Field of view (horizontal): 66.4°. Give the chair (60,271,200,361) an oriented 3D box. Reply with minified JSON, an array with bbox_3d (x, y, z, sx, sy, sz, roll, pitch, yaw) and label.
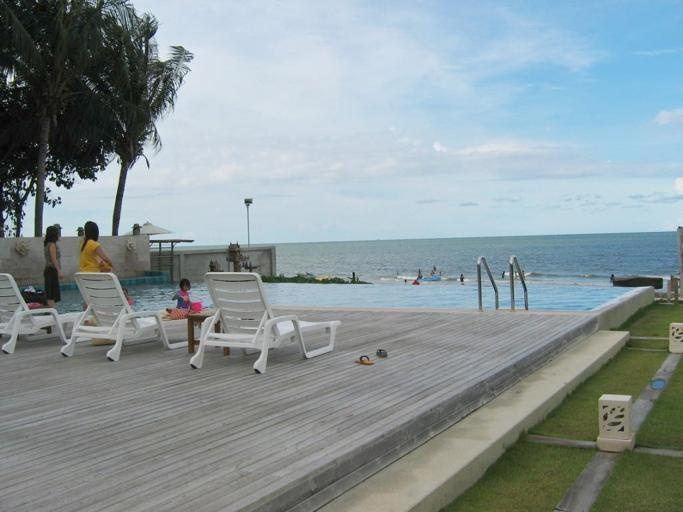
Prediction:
[{"bbox_3d":[-2.747,0.764,6.930,0.862,0.879,1.567,1,-2,23],"label":"chair"}]

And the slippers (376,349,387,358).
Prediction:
[{"bbox_3d":[0.460,1.099,5.919,0.075,0.075,0.123,-3,2,-3],"label":"slippers"}]

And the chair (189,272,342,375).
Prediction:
[{"bbox_3d":[-0.838,0.740,6.355,0.989,0.986,1.844,-1,-2,27],"label":"chair"}]
